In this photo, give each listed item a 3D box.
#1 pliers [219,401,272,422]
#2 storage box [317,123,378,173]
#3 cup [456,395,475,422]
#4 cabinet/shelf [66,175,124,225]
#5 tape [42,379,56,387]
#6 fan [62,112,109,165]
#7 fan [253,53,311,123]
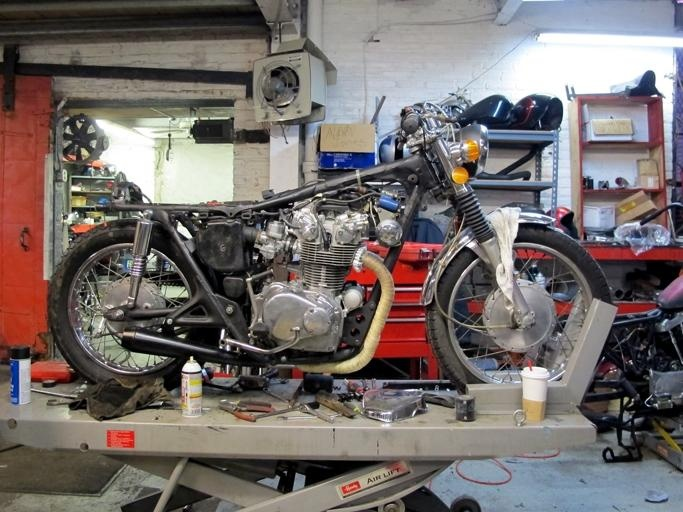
[{"bbox_3d":[-0.610,0.959,4.544,0.196,0.055,0.139,6,8,23],"label":"pliers"},{"bbox_3d":[0.059,-1.048,7.155,0.736,0.472,0.671,0,3,3],"label":"storage box"},{"bbox_3d":[0.771,0.935,4.465,0.155,0.143,0.142,0,1,0],"label":"cup"},{"bbox_3d":[-3.217,-0.728,9.041,0.302,0.736,0.854,3,12,24],"label":"cabinet/shelf"},{"bbox_3d":[-1.989,0.852,4.897,0.053,0.021,0.051,1,0,26],"label":"tape"},{"bbox_3d":[-2.835,-1.293,8.036,0.541,0.451,0.506,6,0,-10],"label":"fan"},{"bbox_3d":[-0.548,-1.578,6.713,0.746,0.647,0.363,0,4,11],"label":"fan"}]
